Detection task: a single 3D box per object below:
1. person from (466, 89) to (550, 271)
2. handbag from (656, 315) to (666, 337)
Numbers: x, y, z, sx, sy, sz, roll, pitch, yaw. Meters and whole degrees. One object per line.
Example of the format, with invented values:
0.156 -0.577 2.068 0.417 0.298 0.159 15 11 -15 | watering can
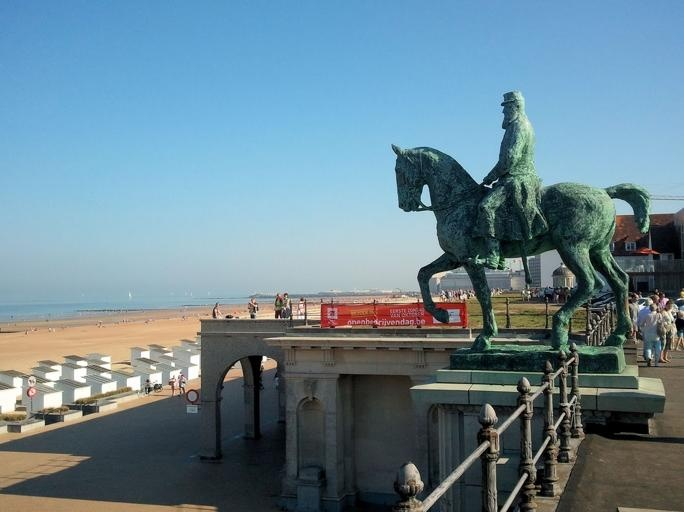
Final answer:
3.859 -1.747 17.699 1.554 4.069 0.619 -4 -4 15 | person
10.586 2.326 25.328 0.200 0.698 0.706 -5 -5 32 | handbag
